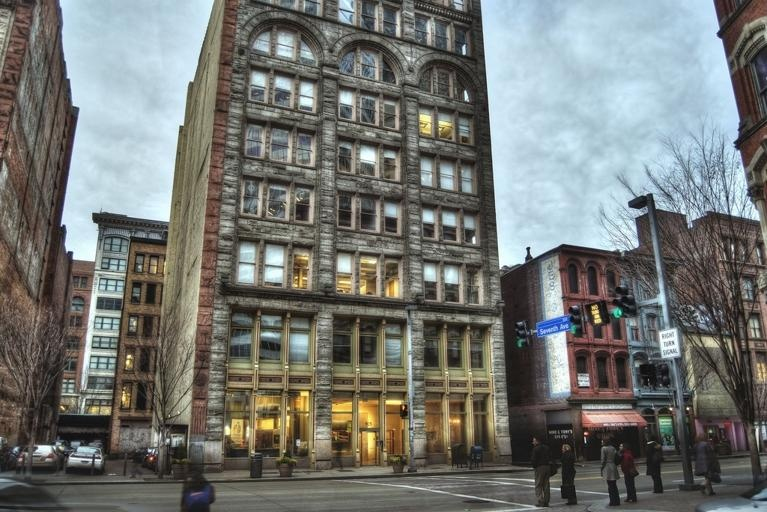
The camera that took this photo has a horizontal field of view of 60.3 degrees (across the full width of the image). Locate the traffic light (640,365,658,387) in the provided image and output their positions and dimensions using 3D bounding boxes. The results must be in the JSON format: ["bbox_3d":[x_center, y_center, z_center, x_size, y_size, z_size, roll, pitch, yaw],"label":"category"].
[{"bbox_3d":[13.144,5.816,32.723,0.980,1.152,0.677,13,-24,-34],"label":"traffic light"}]

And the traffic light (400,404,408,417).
[{"bbox_3d":[1.468,10.670,45.790,0.400,0.922,0.912,-6,-20,13],"label":"traffic light"}]

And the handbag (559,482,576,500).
[{"bbox_3d":[8.829,11.326,31.694,0.945,0.858,0.662,0,-22,4],"label":"handbag"}]

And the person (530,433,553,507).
[{"bbox_3d":[7.469,10.225,30.828,0.816,2.764,1.085,-5,-20,11],"label":"person"}]

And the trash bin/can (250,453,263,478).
[{"bbox_3d":[-7.916,13.114,41.328,0.711,1.501,0.910,4,-20,-15],"label":"trash bin/can"}]

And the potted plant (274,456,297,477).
[{"bbox_3d":[-6.213,13.612,42.475,1.293,1.154,1.145,4,-26,-10],"label":"potted plant"}]

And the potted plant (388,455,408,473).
[{"bbox_3d":[0.995,14.127,44.848,1.107,1.072,1.091,0,-23,3],"label":"potted plant"}]

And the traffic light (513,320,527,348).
[{"bbox_3d":[8.161,4.604,38.860,0.552,1.548,1.401,-8,-21,17],"label":"traffic light"}]
